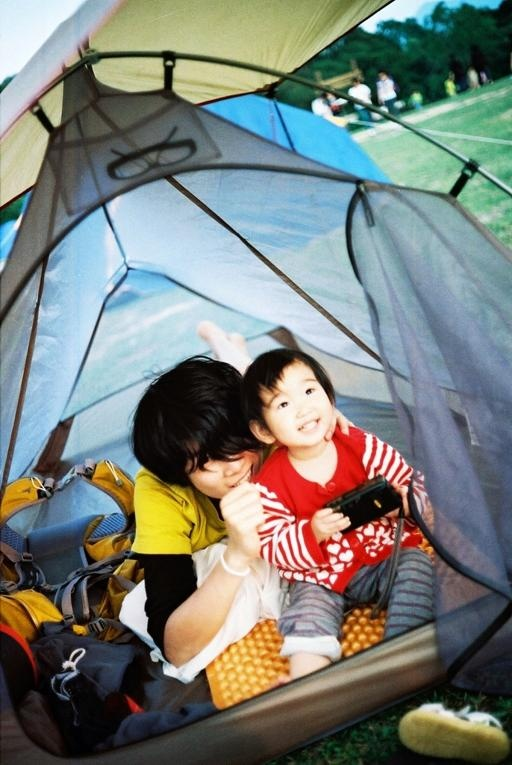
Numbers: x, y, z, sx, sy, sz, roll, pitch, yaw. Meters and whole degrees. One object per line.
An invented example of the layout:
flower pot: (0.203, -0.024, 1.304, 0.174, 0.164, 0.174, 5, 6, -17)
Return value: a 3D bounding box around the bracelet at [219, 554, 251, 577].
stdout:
bracelet: (-0.036, 0.318, 1.023, 0.044, 0.043, 0.011, -42, 10, 40)
